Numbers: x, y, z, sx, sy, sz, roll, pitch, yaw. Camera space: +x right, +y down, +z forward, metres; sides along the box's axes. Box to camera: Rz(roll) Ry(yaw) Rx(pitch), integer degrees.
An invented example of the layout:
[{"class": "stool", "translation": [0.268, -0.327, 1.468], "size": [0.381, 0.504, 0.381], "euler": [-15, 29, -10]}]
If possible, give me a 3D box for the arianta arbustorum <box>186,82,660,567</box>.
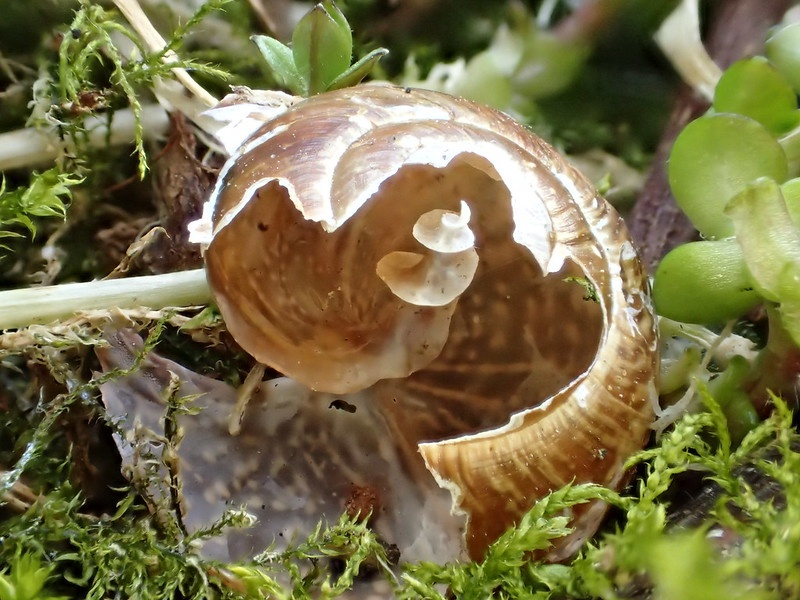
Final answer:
[{"class": "arianta arbustorum", "translation": [0.036, -0.005, 1.004], "size": [0.431, 0.260, 0.556], "euler": [-32, 99, -2]}]
